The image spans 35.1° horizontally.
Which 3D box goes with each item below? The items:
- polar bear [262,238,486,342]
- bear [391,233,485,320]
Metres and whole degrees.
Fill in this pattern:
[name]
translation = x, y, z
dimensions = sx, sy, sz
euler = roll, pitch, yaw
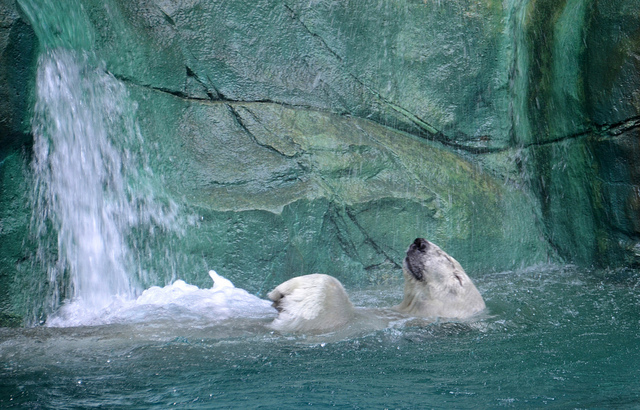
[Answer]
[polar bear]
translation = 0.628, 0.946, 11.583
dimensions = 1.939, 0.850, 1.177
euler = 5, -6, -17
[bear]
translation = 1.422, 0.855, 11.627
dimensions = 1.112, 0.934, 0.655
euler = 19, -22, -18
